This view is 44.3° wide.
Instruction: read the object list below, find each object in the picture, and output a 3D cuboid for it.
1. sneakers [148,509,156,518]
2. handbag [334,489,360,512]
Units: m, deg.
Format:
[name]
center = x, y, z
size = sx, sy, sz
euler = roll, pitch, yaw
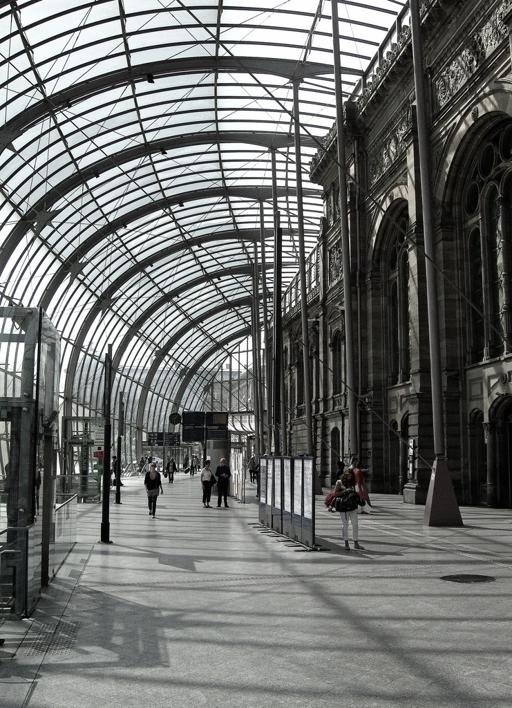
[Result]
[sneakers]
center = -4.035, 6.259, 24.509
size = 0.167, 0.341, 0.639
euler = 2, -4, -1
[handbag]
center = 2.020, 3.371, 14.413
size = 0.664, 0.496, 0.718
euler = -13, -16, 28
